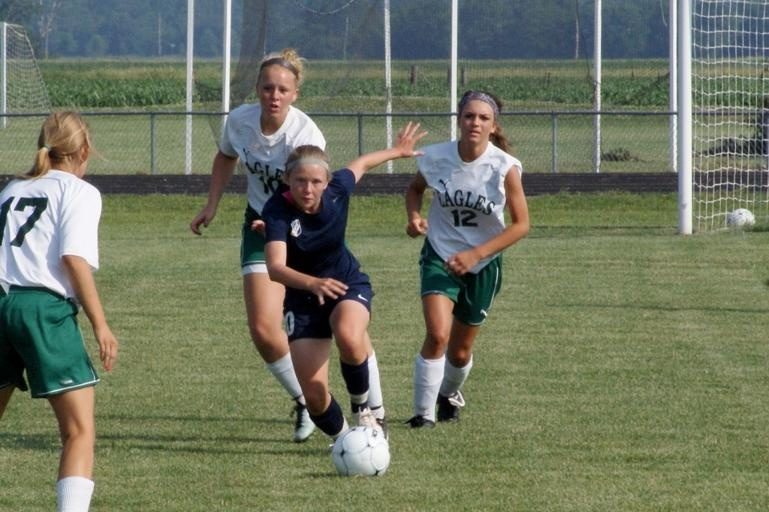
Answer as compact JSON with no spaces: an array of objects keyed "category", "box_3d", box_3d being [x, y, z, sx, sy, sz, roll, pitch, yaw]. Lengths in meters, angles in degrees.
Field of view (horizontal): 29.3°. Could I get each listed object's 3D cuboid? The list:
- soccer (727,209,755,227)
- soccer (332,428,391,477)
[{"category":"soccer","box_3d":[6.133,-0.680,25.425,0.345,0.284,0.346,-3,-1,-38]},{"category":"soccer","box_3d":[-0.310,2.493,18.519,0.600,0.643,0.581,-1,-33,-10]}]
